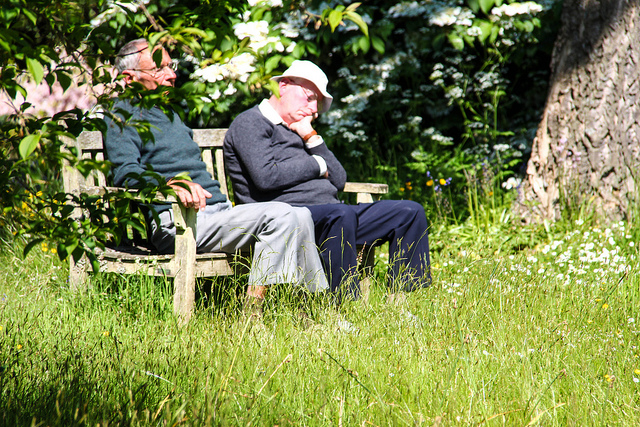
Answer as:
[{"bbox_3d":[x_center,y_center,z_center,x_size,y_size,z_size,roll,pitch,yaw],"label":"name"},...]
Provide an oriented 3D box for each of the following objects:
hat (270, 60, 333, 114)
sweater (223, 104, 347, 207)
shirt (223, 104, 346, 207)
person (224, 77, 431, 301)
[{"bbox_3d":[-0.167,-0.958,6.853,0.381,0.221,0.395,18,-23,36],"label":"hat"},{"bbox_3d":[-0.302,-0.360,6.964,0.803,0.903,0.909,4,-1,-42],"label":"sweater"},{"bbox_3d":[-0.294,-0.374,6.965,0.892,0.908,0.895,3,-2,20],"label":"shirt"},{"bbox_3d":[0.006,-0.130,6.676,1.371,1.988,0.976,-6,-3,32],"label":"person"}]
